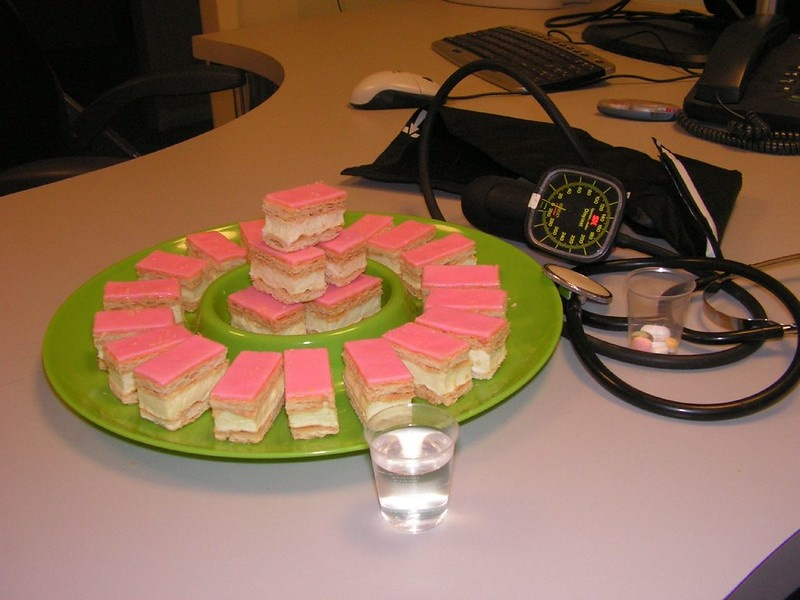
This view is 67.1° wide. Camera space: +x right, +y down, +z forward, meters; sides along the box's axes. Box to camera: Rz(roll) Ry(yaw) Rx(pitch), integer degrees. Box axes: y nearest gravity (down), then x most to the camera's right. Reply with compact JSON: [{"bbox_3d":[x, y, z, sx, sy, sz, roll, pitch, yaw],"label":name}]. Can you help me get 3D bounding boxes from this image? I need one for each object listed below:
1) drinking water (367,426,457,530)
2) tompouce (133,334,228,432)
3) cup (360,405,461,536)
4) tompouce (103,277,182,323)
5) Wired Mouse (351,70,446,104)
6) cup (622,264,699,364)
[{"bbox_3d":[0.023,0.193,0.666,0.107,0.089,0.095,2,28,4],"label":"drinking water"},{"bbox_3d":[-0.259,0.103,0.710,0.061,0.056,0.091,17,33,26],"label":"tompouce"},{"bbox_3d":[0.017,0.196,0.649,0.111,0.094,0.105,-2,-15,-1],"label":"cup"},{"bbox_3d":[-0.368,-0.006,0.865,0.127,0.051,0.060,2,32,-1],"label":"tompouce"},{"bbox_3d":[0.003,-0.542,1.541,0.228,0.066,0.113,-5,31,-3],"label":"Wired Mouse"},{"bbox_3d":[0.385,0.014,0.865,0.112,0.100,0.101,9,-6,22],"label":"cup"}]
